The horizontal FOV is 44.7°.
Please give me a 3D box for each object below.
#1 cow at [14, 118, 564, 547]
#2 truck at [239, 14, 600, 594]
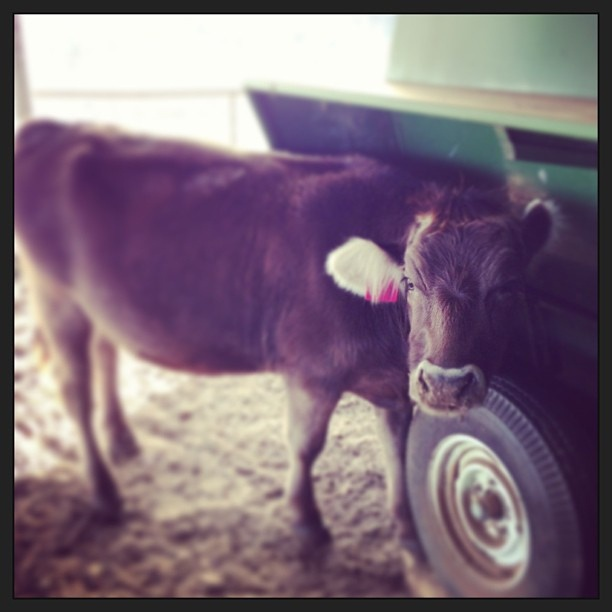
[{"bbox_3d":[0.034,-0.077,2.381,1.490,1.445,0.862,8,23,15],"label":"cow"},{"bbox_3d":[0.394,-0.024,2.433,1.071,1.255,1.325,3,95,29],"label":"truck"}]
